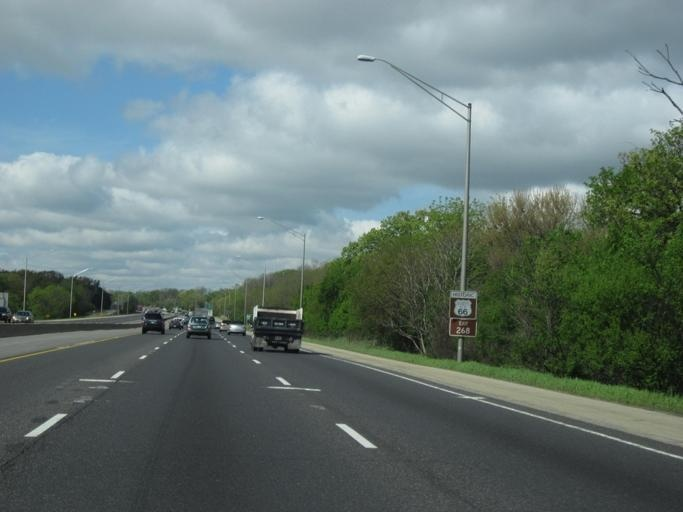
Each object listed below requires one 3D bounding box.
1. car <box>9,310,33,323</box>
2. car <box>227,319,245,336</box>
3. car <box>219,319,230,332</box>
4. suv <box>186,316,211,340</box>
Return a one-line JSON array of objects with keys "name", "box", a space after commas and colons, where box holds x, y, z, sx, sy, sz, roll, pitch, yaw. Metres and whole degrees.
[{"name": "car", "box": [-35.923, 6.878, 81.539, 1.578, 1.385, 2.908, 1, -7, -12]}, {"name": "car", "box": [-10.640, 7.288, 73.583, 1.632, 1.486, 2.987, 3, -9, -6]}, {"name": "car", "box": [-14.501, 8.675, 89.652, 1.424, 1.531, 2.751, 2, 3, -9]}, {"name": "suv", "box": [-10.943, 5.575, 55.592, 1.112, 1.124, 2.710, 2, 4, -10]}]
